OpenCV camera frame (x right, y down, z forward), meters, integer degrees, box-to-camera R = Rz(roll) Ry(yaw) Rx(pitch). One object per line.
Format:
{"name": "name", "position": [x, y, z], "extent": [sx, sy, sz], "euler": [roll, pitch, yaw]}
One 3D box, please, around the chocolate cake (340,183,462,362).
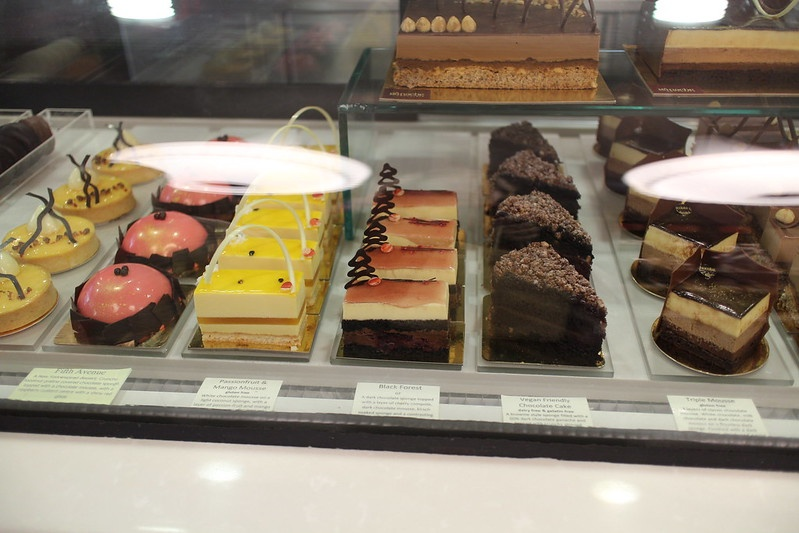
{"name": "chocolate cake", "position": [0.047, 0.009, 2.519], "extent": [0.568, 0.242, 0.755], "euler": [3, 42, 6]}

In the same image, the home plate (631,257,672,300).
{"name": "home plate", "position": [1.105, 0.059, 2.586], "extent": [0.204, 0.033, 0.166], "euler": [-15, 50, -11]}

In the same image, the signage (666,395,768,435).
{"name": "signage", "position": [1.154, 0.537, 2.126], "extent": [0.309, 0.032, 0.164], "euler": [3, 31, 5]}
